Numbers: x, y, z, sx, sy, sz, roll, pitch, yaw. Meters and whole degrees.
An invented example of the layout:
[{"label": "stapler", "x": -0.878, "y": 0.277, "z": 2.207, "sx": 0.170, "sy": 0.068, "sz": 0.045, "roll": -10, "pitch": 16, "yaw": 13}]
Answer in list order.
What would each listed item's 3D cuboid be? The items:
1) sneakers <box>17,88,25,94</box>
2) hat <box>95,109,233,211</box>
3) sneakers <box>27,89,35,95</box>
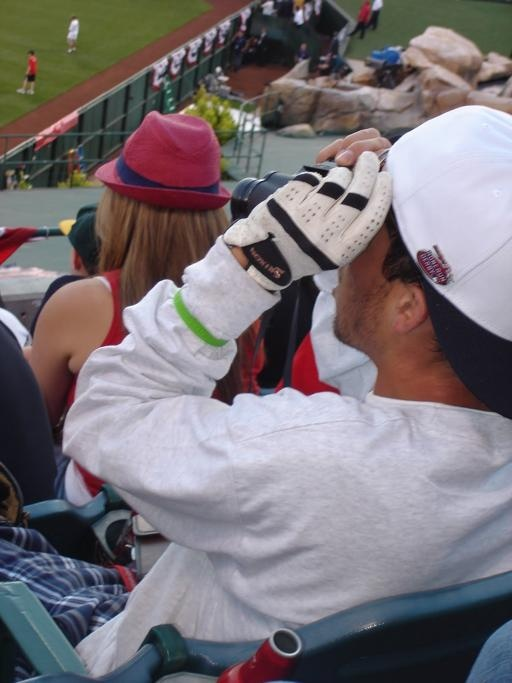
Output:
[{"label": "sneakers", "x": -4.915, "y": -5.215, "z": 16.056, "sx": 0.195, "sy": 0.068, "sz": 0.101, "roll": 5, "pitch": 49, "yaw": -7}, {"label": "hat", "x": -0.220, "y": -0.437, "z": 1.947, "sx": 0.292, "sy": 0.159, "sz": 0.305, "roll": 19, "pitch": 18, "yaw": -13}, {"label": "sneakers", "x": -4.706, "y": -5.176, "z": 16.018, "sx": 0.130, "sy": 0.124, "sz": 0.066, "roll": 42, "pitch": 37, "yaw": 12}]
